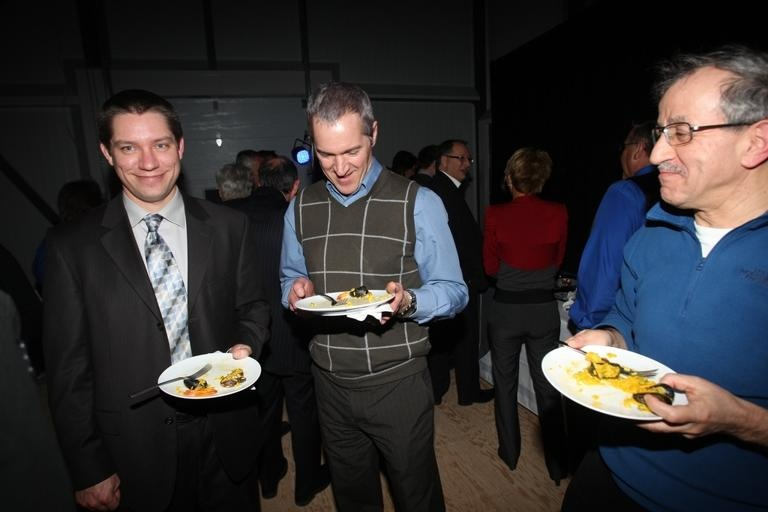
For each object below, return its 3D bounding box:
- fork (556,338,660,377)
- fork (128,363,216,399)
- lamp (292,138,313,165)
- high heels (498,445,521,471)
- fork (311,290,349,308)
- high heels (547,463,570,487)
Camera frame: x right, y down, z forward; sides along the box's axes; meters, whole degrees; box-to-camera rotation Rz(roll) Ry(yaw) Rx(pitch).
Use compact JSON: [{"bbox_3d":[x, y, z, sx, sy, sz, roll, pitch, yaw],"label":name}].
[{"bbox_3d":[1.057,0.485,2.450,0.490,0.070,0.042,22,10,42],"label":"fork"},{"bbox_3d":[-1.022,0.607,2.524,0.381,0.064,0.064,-18,35,-32],"label":"fork"},{"bbox_3d":[-0.879,-1.135,5.864,0.241,0.316,0.309,-5,-6,-1],"label":"lamp"},{"bbox_3d":[0.960,1.526,3.961,0.161,0.118,0.121,-13,15,-38],"label":"high heels"},{"bbox_3d":[-0.270,0.228,2.732,0.105,0.033,0.091,6,23,1],"label":"fork"},{"bbox_3d":[1.274,1.568,3.774,0.137,0.141,0.164,-1,-2,-27],"label":"high heels"}]
